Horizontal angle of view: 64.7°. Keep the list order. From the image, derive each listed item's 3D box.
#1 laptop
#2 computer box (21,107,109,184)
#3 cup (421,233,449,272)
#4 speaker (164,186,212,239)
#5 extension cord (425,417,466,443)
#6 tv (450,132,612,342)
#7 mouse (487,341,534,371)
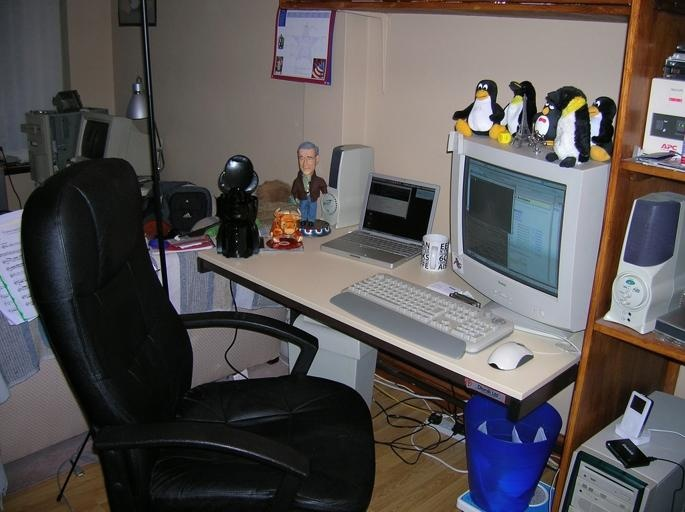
[{"bbox_3d":[0.161,-0.130,2.291,0.419,0.331,0.418,20,26,36],"label":"laptop"},{"bbox_3d":[-1.997,-0.809,3.886,0.294,0.488,0.480,16,24,28],"label":"computer box"},{"bbox_3d":[0.370,-0.017,2.169,0.089,0.116,0.149,5,24,14],"label":"cup"},{"bbox_3d":[-0.872,-0.298,2.995,0.298,0.341,0.122,0,13,-8],"label":"speaker"},{"bbox_3d":[0.482,0.798,2.463,0.073,0.018,0.122,-8,22,-26],"label":"extension cord"},{"bbox_3d":[0.619,-0.059,1.732,0.268,0.539,0.490,-13,26,-24],"label":"tv"},{"bbox_3d":[0.501,0.301,1.623,0.137,0.060,0.066,-13,23,-34],"label":"mouse"}]
